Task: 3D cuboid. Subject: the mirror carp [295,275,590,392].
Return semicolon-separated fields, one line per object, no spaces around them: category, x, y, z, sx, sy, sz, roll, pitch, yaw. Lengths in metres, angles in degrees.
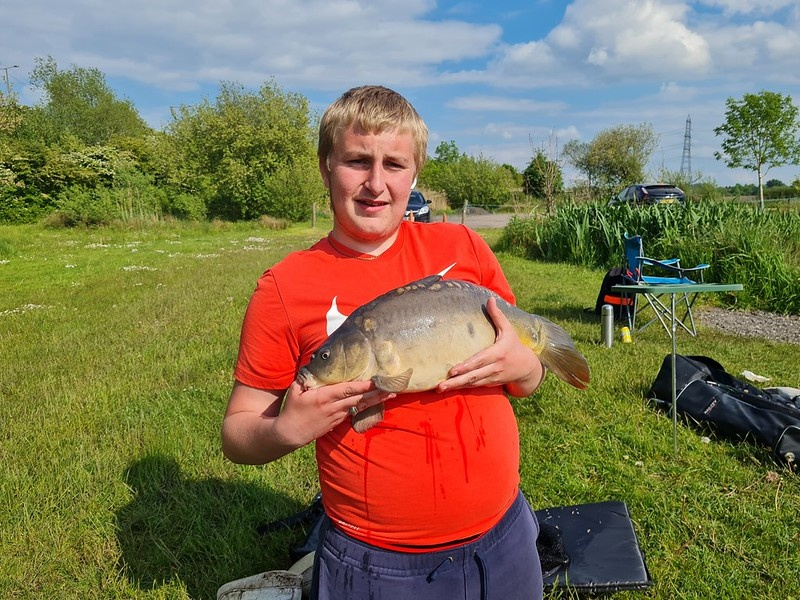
mirror carp;0.310;0.218;3.242;1.506;0.687;0.448;-2;-9;-5

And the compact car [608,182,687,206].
compact car;7.777;-3.383;18.295;1.769;0.578;3.069;7;14;22

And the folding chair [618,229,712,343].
folding chair;4.048;-0.264;9.044;1.031;1.607;1.308;1;10;8

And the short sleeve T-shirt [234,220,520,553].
short sleeve T-shirt;-0.042;0.400;3.463;1.602;1.745;0.917;-12;7;-16
